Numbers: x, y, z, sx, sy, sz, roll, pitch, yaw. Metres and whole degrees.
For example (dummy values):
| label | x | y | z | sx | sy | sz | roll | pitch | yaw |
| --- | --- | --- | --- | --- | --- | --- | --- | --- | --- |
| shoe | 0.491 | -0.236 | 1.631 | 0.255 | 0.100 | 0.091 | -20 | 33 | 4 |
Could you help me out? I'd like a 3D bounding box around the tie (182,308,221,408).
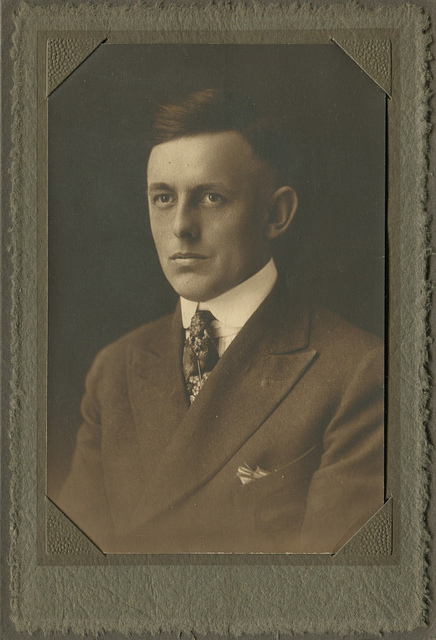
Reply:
| label | x | y | z | sx | sy | sz | roll | pitch | yaw |
| --- | --- | --- | --- | --- | --- | --- | --- | --- | --- |
| tie | -0.029 | 0.058 | 1.979 | 0.064 | 0.186 | 0.031 | -6 | -44 | 7 |
